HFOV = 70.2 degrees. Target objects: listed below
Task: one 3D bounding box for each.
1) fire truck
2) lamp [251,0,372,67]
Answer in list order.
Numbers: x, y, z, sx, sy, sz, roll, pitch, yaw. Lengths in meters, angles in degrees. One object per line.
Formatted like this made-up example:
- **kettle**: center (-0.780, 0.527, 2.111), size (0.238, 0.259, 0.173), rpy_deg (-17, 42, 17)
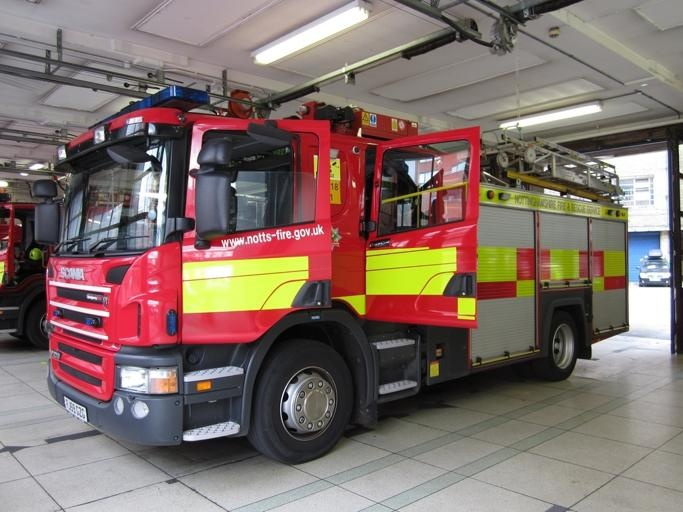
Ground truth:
- **fire truck**: center (0.481, 0.017, 6.424), size (7.616, 2.616, 4.193), rpy_deg (3, -6, -34)
- **lamp**: center (-0.455, -3.249, 7.086), size (2.018, 0.314, 0.307), rpy_deg (-7, 39, 40)
